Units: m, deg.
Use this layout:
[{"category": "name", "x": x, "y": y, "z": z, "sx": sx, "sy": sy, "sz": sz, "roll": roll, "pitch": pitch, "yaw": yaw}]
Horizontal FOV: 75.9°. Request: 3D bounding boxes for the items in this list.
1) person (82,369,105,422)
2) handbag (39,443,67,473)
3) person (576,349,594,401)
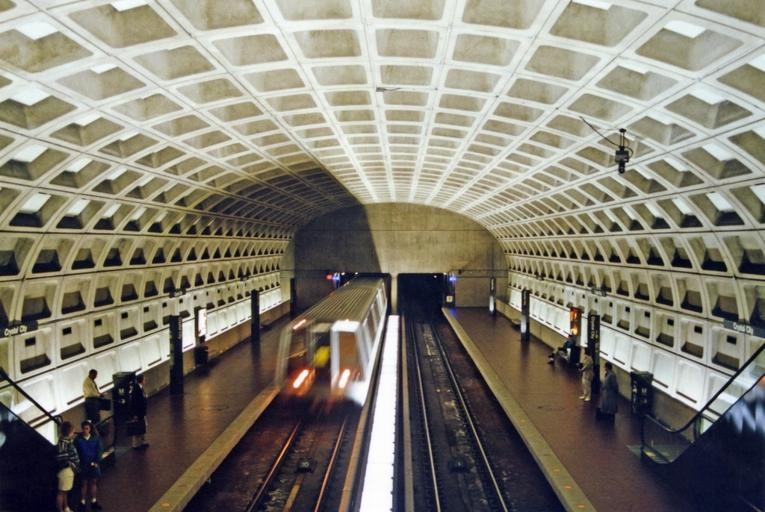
[{"category": "person", "x": -9.777, "y": 4.641, "z": 16.459, "sx": 0.578, "sy": 1.789, "sz": 1.277, "roll": 6, "pitch": -12, "yaw": -29}, {"category": "handbag", "x": -8.399, "y": 5.111, "z": 12.460, "sx": 0.565, "sy": 0.758, "sz": 0.325, "roll": 5, "pitch": -11, "yaw": -26}, {"category": "person", "x": 8.476, "y": 4.854, "z": 20.366, "sx": 0.587, "sy": 2.000, "sz": 1.506, "roll": -4, "pitch": -11, "yaw": 21}]
